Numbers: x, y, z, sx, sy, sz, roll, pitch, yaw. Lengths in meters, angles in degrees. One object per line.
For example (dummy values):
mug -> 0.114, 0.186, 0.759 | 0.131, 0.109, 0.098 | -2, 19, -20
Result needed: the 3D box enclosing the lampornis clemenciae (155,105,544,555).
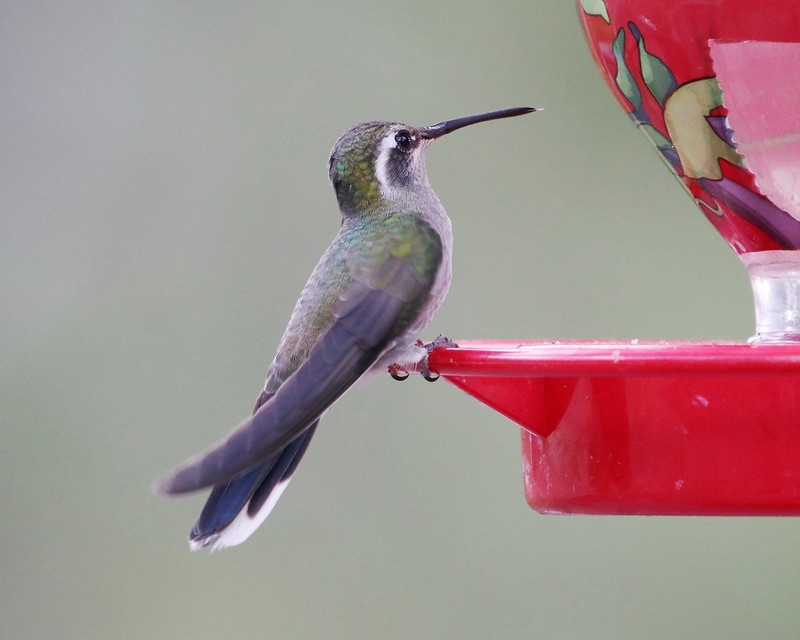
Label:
lampornis clemenciae -> -0.081, -0.026, 1.510 | 0.548, 0.395, 0.194 | -22, 15, -20
